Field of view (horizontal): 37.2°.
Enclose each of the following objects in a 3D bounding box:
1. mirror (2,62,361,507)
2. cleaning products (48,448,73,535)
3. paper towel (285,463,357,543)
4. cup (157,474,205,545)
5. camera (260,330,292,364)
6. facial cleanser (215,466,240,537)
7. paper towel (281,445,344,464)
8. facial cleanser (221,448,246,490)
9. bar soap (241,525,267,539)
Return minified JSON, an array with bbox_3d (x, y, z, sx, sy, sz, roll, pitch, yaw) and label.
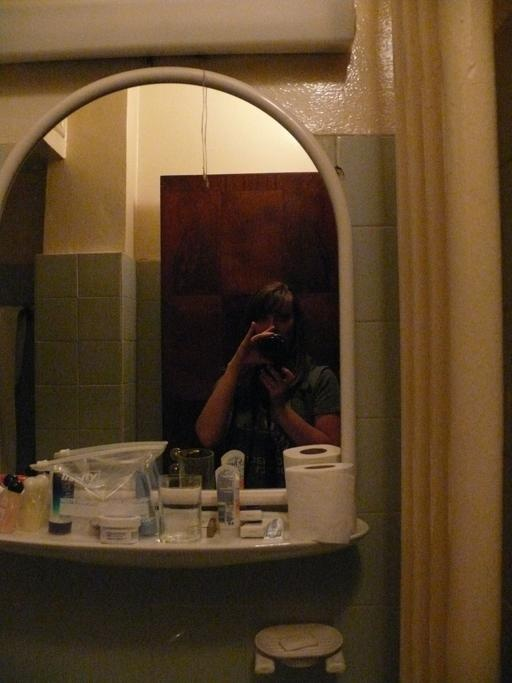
[{"bbox_3d":[-0.128,-0.068,1.300,0.707,0.929,0.036,-1,0,5],"label":"mirror"},{"bbox_3d":[-0.315,0.260,1.233,0.042,0.107,0.014,0,-3,10],"label":"cleaning products"},{"bbox_3d":[0.114,0.258,1.252,0.105,0.120,0.116,-1,0,13],"label":"paper towel"},{"bbox_3d":[-0.121,0.272,1.239,0.069,0.109,0.064,-2,-3,0],"label":"cup"},{"bbox_3d":[0.035,0.012,1.319,0.042,0.061,0.022,-3,12,8],"label":"camera"},{"bbox_3d":[-0.044,0.266,1.251,0.043,0.096,0.066,0,-5,-2],"label":"facial cleanser"},{"bbox_3d":[0.094,0.192,1.269,0.095,0.032,0.063,0,-3,6],"label":"paper towel"},{"bbox_3d":[-0.029,0.217,1.281,0.032,0.065,0.016,0,-9,-2],"label":"facial cleanser"},{"bbox_3d":[-0.005,0.307,1.227,0.039,0.021,0.017,1,-3,-1],"label":"bar soap"}]
